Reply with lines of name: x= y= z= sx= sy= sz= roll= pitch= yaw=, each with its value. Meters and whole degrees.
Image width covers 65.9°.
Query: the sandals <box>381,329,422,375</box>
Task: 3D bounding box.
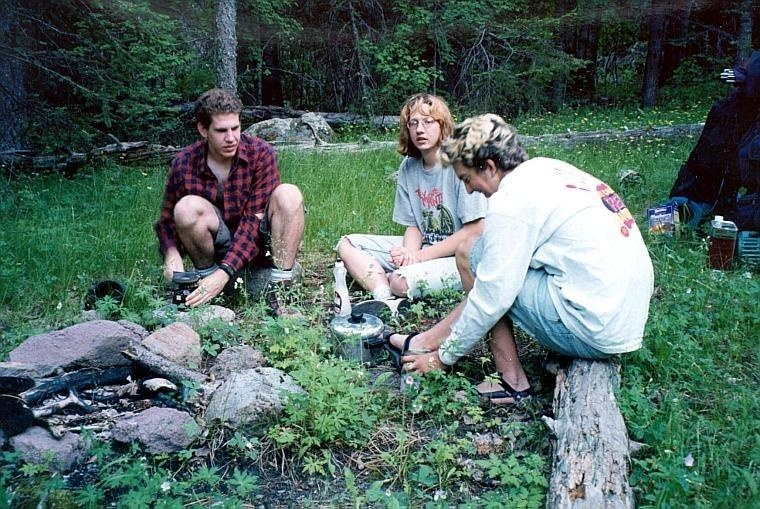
sandals: x=0.148 y=0.767 z=4.730 sx=0.174 sy=0.116 sz=0.438 roll=-17 pitch=50 yaw=-2

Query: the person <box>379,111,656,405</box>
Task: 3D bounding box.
person: x=1.205 y=0.087 z=4.255 sx=1.501 sy=2.028 sz=0.670 roll=4 pitch=21 yaw=9

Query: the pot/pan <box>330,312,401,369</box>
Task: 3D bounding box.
pot/pan: x=-0.149 y=0.654 z=4.779 sx=0.396 sy=0.292 sz=0.637 roll=-6 pitch=18 yaw=-28

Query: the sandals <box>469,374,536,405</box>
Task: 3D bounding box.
sandals: x=0.923 y=1.030 z=4.456 sx=0.458 sy=0.175 sz=0.180 roll=-1 pitch=4 yaw=1
